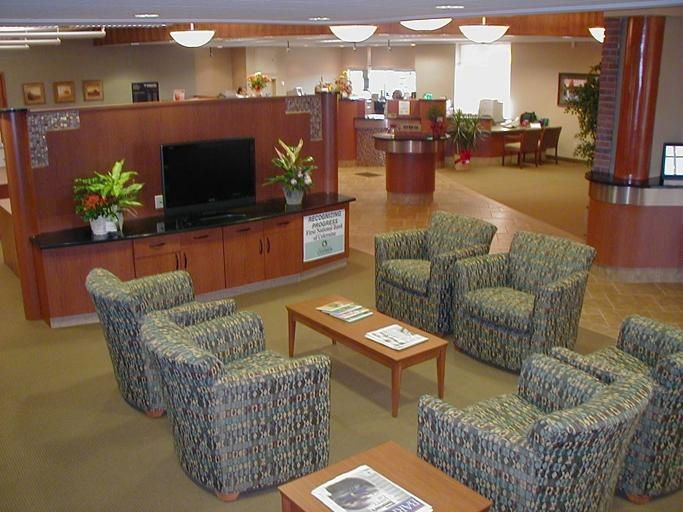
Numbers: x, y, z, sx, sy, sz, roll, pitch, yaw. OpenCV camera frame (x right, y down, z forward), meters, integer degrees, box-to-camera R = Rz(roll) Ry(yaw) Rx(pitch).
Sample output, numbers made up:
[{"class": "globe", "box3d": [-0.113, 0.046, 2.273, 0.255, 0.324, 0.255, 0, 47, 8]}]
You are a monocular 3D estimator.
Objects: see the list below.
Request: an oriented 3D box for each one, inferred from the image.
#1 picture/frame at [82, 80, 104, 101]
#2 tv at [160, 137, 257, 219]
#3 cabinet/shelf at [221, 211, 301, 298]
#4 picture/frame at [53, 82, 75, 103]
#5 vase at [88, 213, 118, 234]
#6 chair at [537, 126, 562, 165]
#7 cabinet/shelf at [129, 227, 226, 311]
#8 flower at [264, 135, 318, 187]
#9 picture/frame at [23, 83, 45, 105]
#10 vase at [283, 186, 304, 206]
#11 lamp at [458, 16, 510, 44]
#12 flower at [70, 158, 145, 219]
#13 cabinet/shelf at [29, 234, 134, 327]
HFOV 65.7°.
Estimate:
[{"class": "picture/frame", "box3d": [-7.155, -4.781, 15.193, 0.043, 0.637, 0.607, 17, 18, 39]}, {"class": "tv", "box3d": [-1.767, -1.030, 6.848, 0.978, 0.754, 0.127, -10, 19, -31]}, {"class": "cabinet/shelf", "box3d": [-1.203, -0.129, 7.400, 1.205, 0.888, 0.694, -11, 19, -32]}, {"class": "picture/frame", "box3d": [-7.716, -4.561, 14.673, 0.059, 0.586, 0.592, 12, 14, 38]}, {"class": "vase", "box3d": [-2.789, -0.385, 6.244, 0.216, 0.220, 0.285, 3, 5, 25]}, {"class": "chair", "box3d": [5.880, -3.257, 15.321, 0.745, 1.032, 0.737, -10, 21, -21]}, {"class": "cabinet/shelf", "box3d": [-1.958, 0.240, 6.645, 1.109, 0.437, 0.970, -11, 57, -7]}, {"class": "flower", "box3d": [-0.746, -1.291, 7.647, 0.674, 0.779, 0.789, -5, 15, -6]}, {"class": "picture/frame", "box3d": [-8.255, -4.374, 14.182, 0.040, 0.574, 0.564, 12, 15, 39]}, {"class": "vase", "box3d": [-0.674, -0.870, 7.549, 0.247, 0.187, 0.254, 5, 13, 20]}, {"class": "lamp", "box3d": [1.825, -2.911, 6.863, 0.617, 0.189, 0.365, -2, 15, 4]}, {"class": "flower", "box3d": [-2.801, -0.740, 6.350, 0.691, 0.534, 0.624, -8, 32, -32]}, {"class": "cabinet/shelf", "box3d": [-2.811, 0.224, 5.682, 0.867, 0.862, 0.288, -10, 22, -28]}]
